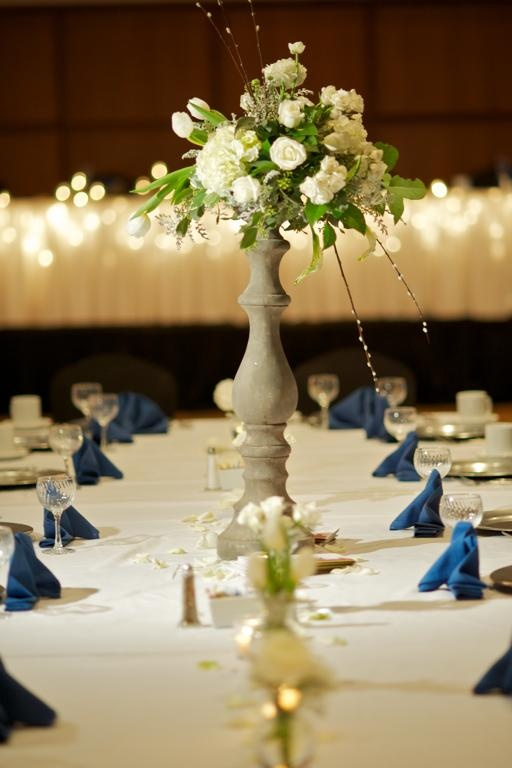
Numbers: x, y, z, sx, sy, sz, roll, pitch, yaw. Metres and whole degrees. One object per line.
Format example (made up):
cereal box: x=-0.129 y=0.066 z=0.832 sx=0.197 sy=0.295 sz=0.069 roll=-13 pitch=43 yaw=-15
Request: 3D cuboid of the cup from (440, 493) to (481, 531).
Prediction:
cup: x=0.293 y=0.188 z=1.067 sx=0.056 sy=0.057 sz=0.055 roll=0 pitch=-5 yaw=0

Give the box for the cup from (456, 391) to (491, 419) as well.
cup: x=0.737 y=0.071 z=2.493 sx=0.094 sy=0.086 sz=0.120 roll=-2 pitch=4 yaw=-40

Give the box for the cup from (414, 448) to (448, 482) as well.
cup: x=0.313 y=0.144 z=1.289 sx=0.059 sy=0.060 sz=0.056 roll=-1 pitch=-2 yaw=0

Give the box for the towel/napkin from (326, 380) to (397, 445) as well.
towel/napkin: x=0.349 y=0.101 z=2.411 sx=0.218 sy=0.109 sz=0.266 roll=1 pitch=4 yaw=4
